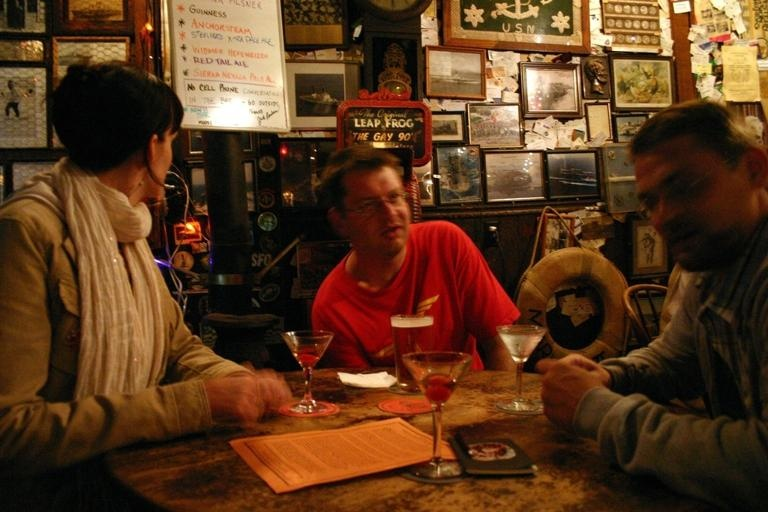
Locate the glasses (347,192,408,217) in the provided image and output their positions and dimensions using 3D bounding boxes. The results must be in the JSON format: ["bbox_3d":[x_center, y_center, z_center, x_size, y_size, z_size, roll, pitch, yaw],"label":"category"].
[{"bbox_3d":[-0.024,-0.246,2.939,0.163,0.046,0.157,-9,-10,-11],"label":"glasses"}]

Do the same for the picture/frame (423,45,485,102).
[{"bbox_3d":[0.575,-1.543,5.193,0.543,0.384,0.091,-2,2,-14],"label":"picture/frame"}]

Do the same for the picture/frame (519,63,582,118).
[{"bbox_3d":[1.449,-1.462,5.439,0.534,0.424,0.054,-1,-3,-14],"label":"picture/frame"}]
